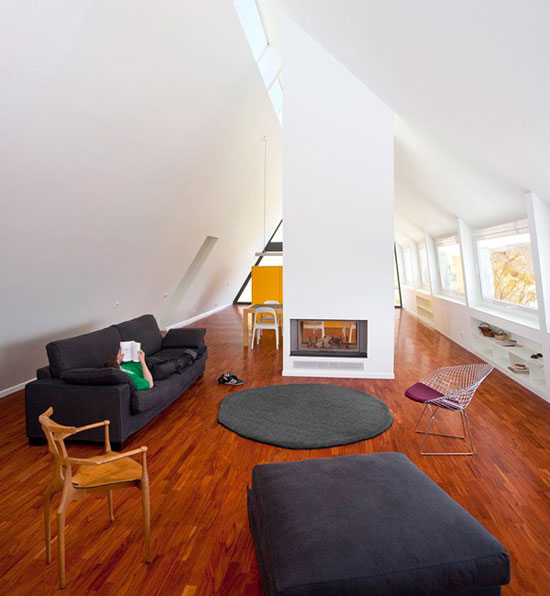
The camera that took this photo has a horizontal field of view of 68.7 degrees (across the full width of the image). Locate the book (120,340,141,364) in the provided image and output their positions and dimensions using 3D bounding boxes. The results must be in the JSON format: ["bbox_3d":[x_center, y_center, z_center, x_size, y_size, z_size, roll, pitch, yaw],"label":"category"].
[{"bbox_3d":[-1.513,0.563,4.234,0.175,0.211,0.070,2,0,-16],"label":"book"}]

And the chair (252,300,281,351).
[{"bbox_3d":[-0.178,0.512,8.190,0.581,1.203,0.787,0,8,1],"label":"chair"}]

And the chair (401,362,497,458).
[{"bbox_3d":[1.563,0.991,3.718,0.639,0.908,0.892,7,5,12],"label":"chair"}]

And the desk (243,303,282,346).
[{"bbox_3d":[-0.229,0.493,8.225,0.701,0.956,0.800,0,6,3],"label":"desk"}]

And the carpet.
[{"bbox_3d":[0.324,1.240,4.314,1.864,0.066,1.792,0,3,0],"label":"carpet"}]

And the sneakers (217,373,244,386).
[{"bbox_3d":[-0.614,1.139,5.546,0.382,0.210,0.147,1,2,5],"label":"sneakers"}]
